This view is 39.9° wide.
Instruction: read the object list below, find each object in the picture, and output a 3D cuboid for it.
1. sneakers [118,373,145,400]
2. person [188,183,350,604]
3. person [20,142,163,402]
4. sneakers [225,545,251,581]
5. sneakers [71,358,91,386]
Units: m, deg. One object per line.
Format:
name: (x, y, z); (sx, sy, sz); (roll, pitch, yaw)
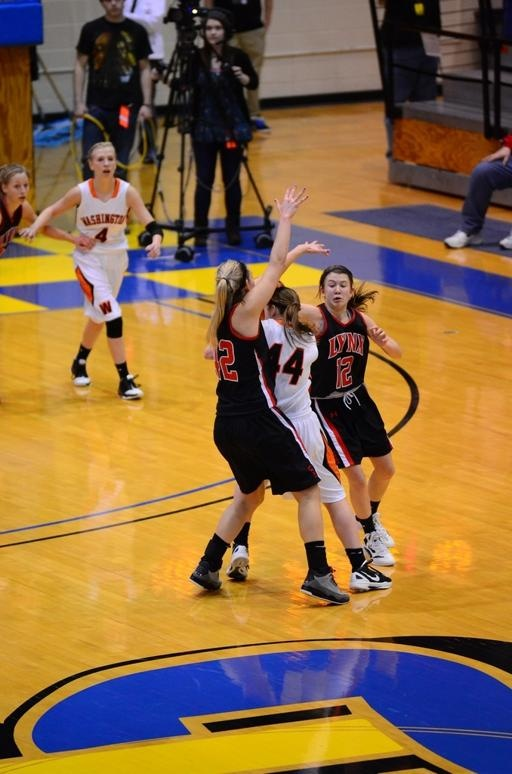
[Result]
sneakers: (-0.879, 0.005, 4.926); (0.177, 0.184, 0.124); (-1, 6, -6)
person: (0.035, 0.067, 2.539); (0.591, 1.479, 0.365); (-1, 6, 4)
person: (-1.123, -0.822, 5.027); (0.886, 1.812, 0.550); (-2, 6, -7)
sneakers: (-0.069, 0.708, 2.780); (0.073, 0.165, 0.077); (4, 38, -2)
sneakers: (-1.296, -0.101, 5.197); (0.094, 0.100, 0.240); (-4, 30, -19)
